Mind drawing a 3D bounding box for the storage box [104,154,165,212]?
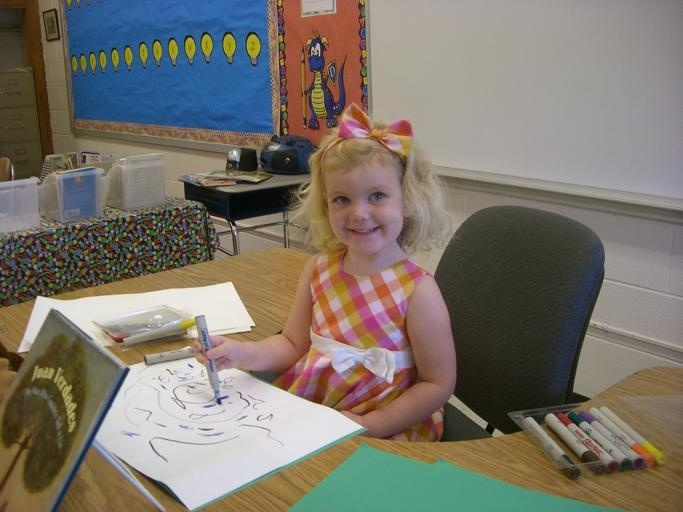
[{"bbox_3d":[-0.997,-0.357,2.327,0.150,0.252,0.271,20,24,29],"label":"storage box"}]

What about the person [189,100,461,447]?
[{"bbox_3d":[-0.091,0.018,1.254,0.592,0.931,0.559,-7,10,-38],"label":"person"}]

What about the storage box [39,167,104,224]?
[{"bbox_3d":[-1.128,-0.267,2.174,0.211,0.198,0.123,-9,10,5],"label":"storage box"}]

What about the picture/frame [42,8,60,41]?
[{"bbox_3d":[-3.275,-2.568,5.551,0.330,0.353,0.036,23,33,38],"label":"picture/frame"}]

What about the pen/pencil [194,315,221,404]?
[{"bbox_3d":[-0.237,0.183,0.861,0.017,0.130,0.017,-16,-17,13],"label":"pen/pencil"}]

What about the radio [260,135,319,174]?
[{"bbox_3d":[-0.318,-0.619,3.028,0.374,0.221,0.379,-7,21,-34],"label":"radio"}]

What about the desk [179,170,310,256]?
[{"bbox_3d":[-0.501,-0.202,2.884,0.361,0.350,0.351,-9,8,-26],"label":"desk"}]
